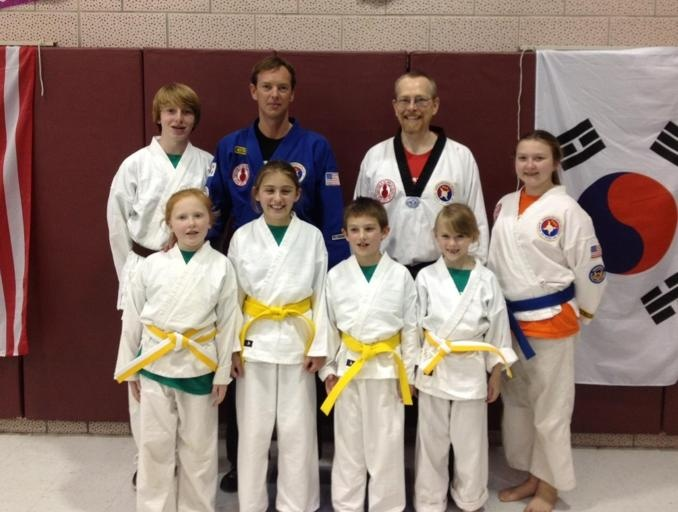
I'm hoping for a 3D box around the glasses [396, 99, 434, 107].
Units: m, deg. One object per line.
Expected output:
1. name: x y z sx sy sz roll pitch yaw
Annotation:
1. glasses: 0.469 -0.942 4.450 0.228 0.072 0.087 -2 7 0
